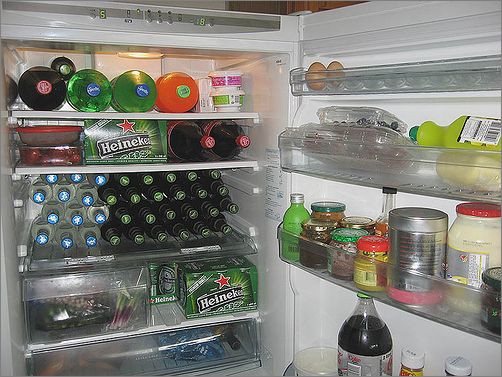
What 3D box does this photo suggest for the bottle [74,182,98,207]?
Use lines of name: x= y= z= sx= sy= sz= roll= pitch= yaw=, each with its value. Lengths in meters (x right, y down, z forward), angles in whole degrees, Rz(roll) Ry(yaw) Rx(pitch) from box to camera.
bottle: x=-0.794 y=0.031 z=1.580 sx=0.105 sy=0.093 sz=0.170 roll=3 pitch=13 yaw=-27

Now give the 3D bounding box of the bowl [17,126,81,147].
bowl: x=-0.795 y=-0.209 z=1.310 sx=0.226 sy=0.085 sz=0.090 roll=-8 pitch=11 yaw=-31

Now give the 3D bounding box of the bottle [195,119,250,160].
bottle: x=-0.141 y=-0.222 z=1.502 sx=0.155 sy=0.137 sz=0.371 roll=-10 pitch=16 yaw=-21

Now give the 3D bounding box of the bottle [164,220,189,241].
bottle: x=-0.360 y=0.198 z=1.603 sx=0.086 sy=0.075 sz=0.217 roll=-8 pitch=14 yaw=-18

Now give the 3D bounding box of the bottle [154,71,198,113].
bottle: x=-0.331 y=-0.435 z=1.502 sx=0.191 sy=0.169 sz=0.172 roll=-9 pitch=17 yaw=-14

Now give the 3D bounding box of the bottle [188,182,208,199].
bottle: x=-0.268 y=0.003 z=1.633 sx=0.086 sy=0.075 sz=0.089 roll=-5 pitch=18 yaw=-26

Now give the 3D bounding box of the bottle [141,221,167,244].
bottle: x=-0.463 y=0.204 z=1.579 sx=0.093 sy=0.082 sz=0.266 roll=-9 pitch=13 yaw=-23

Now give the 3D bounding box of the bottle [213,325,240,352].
bottle: x=-0.118 y=0.734 z=1.640 sx=0.109 sy=0.139 sz=0.036 roll=-19 pitch=-5 yaw=-19

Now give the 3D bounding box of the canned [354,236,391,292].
canned: x=0.343 y=0.213 z=0.925 sx=0.100 sy=0.141 sz=0.110 roll=3 pitch=11 yaw=34

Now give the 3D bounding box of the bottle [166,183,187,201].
bottle: x=-0.358 y=0.026 z=1.604 sx=0.092 sy=0.081 sz=0.097 roll=-6 pitch=19 yaw=-25

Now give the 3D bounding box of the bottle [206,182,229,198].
bottle: x=-0.169 y=-0.006 z=1.652 sx=0.090 sy=0.080 sz=0.147 roll=-10 pitch=15 yaw=-13

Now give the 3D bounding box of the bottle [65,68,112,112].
bottle: x=-0.644 y=-0.425 z=1.364 sx=0.190 sy=0.160 sz=0.178 roll=7 pitch=26 yaw=8

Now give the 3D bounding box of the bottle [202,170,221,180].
bottle: x=-0.192 y=-0.062 z=1.628 sx=0.078 sy=0.050 sz=0.077 roll=6 pitch=11 yaw=-1

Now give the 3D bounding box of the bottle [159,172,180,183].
bottle: x=-0.412 y=-0.056 z=1.634 sx=0.056 sy=0.049 sz=0.026 roll=3 pitch=42 yaw=-6

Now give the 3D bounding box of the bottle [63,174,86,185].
bottle: x=-0.773 y=-0.045 z=1.460 sx=0.098 sy=0.020 sz=0.091 roll=-1 pitch=-8 yaw=0

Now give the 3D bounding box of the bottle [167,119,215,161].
bottle: x=-0.274 y=-0.211 z=1.468 sx=0.187 sy=0.165 sz=0.477 roll=1 pitch=9 yaw=-19

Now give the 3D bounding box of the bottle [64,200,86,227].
bottle: x=-0.826 y=0.116 z=1.539 sx=0.110 sy=0.097 sz=0.177 roll=6 pitch=12 yaw=-26

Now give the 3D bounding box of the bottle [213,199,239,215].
bottle: x=-0.111 y=0.081 z=1.603 sx=0.067 sy=0.041 sz=0.114 roll=20 pitch=4 yaw=-24

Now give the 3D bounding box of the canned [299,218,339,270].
canned: x=0.235 y=0.198 z=1.139 sx=0.127 sy=0.148 sz=0.161 roll=6 pitch=-3 yaw=-31

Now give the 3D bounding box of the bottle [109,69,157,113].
bottle: x=-0.479 y=-0.388 z=1.376 sx=0.197 sy=0.174 sz=0.161 roll=-4 pitch=15 yaw=-31

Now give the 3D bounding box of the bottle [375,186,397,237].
bottle: x=0.419 y=0.068 z=1.024 sx=0.064 sy=0.168 sz=0.260 roll=1 pitch=10 yaw=24

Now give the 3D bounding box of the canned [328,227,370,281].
canned: x=0.319 y=0.207 z=1.024 sx=0.130 sy=0.126 sz=0.127 roll=-2 pitch=-2 yaw=-19

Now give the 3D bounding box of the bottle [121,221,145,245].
bottle: x=-0.556 y=0.204 z=1.558 sx=0.091 sy=0.089 sz=0.260 roll=-9 pitch=13 yaw=-21

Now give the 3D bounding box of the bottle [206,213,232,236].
bottle: x=-0.165 y=0.182 z=1.652 sx=0.093 sy=0.082 sz=0.237 roll=-12 pitch=12 yaw=-16
